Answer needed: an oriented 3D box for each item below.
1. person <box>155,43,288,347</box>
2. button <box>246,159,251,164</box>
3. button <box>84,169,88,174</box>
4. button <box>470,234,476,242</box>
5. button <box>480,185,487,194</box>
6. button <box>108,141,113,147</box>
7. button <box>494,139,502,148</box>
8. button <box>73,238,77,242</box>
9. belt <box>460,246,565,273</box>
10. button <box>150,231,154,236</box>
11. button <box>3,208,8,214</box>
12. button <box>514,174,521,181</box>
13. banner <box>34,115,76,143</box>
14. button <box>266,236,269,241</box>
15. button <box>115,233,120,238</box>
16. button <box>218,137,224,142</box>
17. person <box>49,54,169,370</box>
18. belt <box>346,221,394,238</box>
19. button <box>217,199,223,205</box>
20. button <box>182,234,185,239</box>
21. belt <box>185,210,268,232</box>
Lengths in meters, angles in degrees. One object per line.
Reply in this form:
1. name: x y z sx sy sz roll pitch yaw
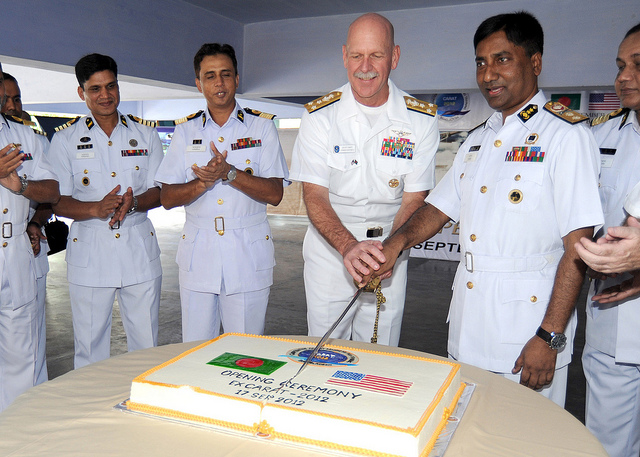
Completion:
1. person: -0.615 -0.214 2.945 0.793 1.694 0.495 -9 15 -19
2. button: -0.482 -0.396 2.954 0.021 0.021 0.011 4 -17 -22
3. button: -1.580 -0.360 3.132 0.025 0.024 0.013 3 0 -13
4. button: 0.670 0.040 2.160 0.026 0.025 0.006 -4 -13 39
5. button: 0.726 -0.169 2.182 0.035 0.033 0.018 6 17 35
6. button: -1.437 -0.540 3.167 0.030 0.038 0.012 1 -1 -13
7. button: 0.796 -0.374 2.190 0.033 0.035 0.013 2 15 21
8. button: -1.658 0.074 3.147 0.042 0.022 0.014 5 17 31
9. belt: 0.838 0.142 2.100 0.415 0.100 0.100 -1 14 12
10. button: -1.206 0.034 3.299 0.007 0.028 0.020 -20 -11 19
11. button: -1.815 -0.094 2.695 0.004 0.031 0.026 3 16 27
12. button: 0.841 -0.212 2.078 0.025 0.024 0.007 -4 -17 18
13. banner: -8.731 -3.123 15.273 0.693 0.662 2.088 -10 15 -23
14. button: -0.365 0.057 2.993 0.008 0.023 0.031 2 15 23
15. button: -1.368 0.047 3.128 0.023 0.023 0.014 1 -23 -11
16. button: -0.648 -0.527 2.943 0.034 0.033 0.009 1 0 -9
17. person: -1.425 0.099 3.271 0.791 2.343 0.730 -2 19 -23
18. belt: 0.246 0.015 2.548 0.246 0.058 0.059 -6 14 -9
19. button: -0.634 -0.155 2.854 0.033 0.032 0.008 3 -3 -11
20. button: -0.878 0.049 2.943 0.017 0.028 0.007 -1 0 7
21. belt: -0.610 -0.032 2.884 0.233 0.051 0.229 -1 4 -1
